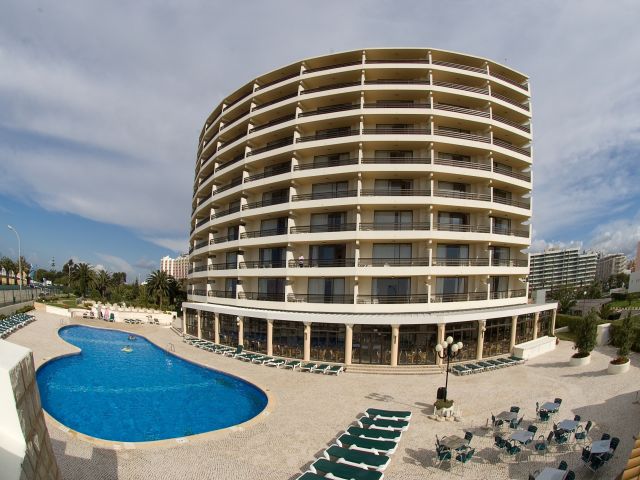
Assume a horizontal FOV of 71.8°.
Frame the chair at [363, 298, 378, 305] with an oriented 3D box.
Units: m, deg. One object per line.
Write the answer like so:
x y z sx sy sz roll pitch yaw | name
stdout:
4.684 5.648 42.038 1.278 0.973 0.600 1 -11 11 | chair

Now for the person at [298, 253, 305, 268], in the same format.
-1.959 2.077 43.492 0.614 1.239 0.904 3 -8 -2 | person

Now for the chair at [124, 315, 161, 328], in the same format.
-26.533 11.741 65.784 5.094 1.130 2.841 3 -8 -10 | chair
